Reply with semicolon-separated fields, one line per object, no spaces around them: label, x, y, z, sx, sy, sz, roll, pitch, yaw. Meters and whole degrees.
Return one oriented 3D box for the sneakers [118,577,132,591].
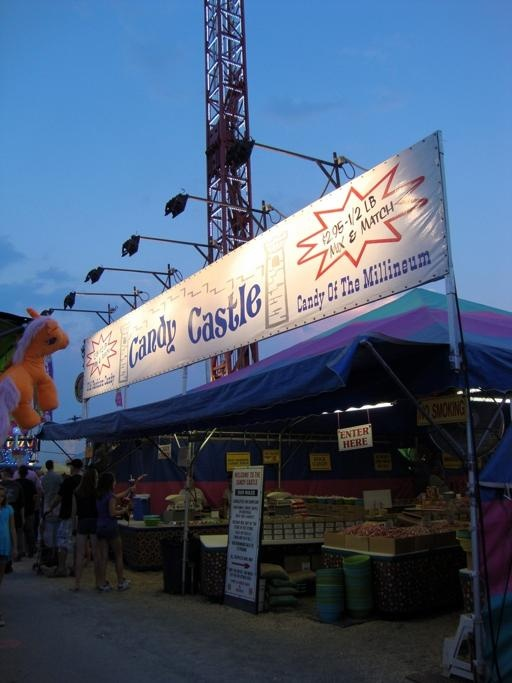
sneakers;-1.700;3.112;7.831;0.081;0.104;0.227;-2;-6;14

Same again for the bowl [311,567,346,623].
bowl;0.725;2.479;5.969;0.272;0.455;0.322;-2;-11;7

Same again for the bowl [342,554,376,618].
bowl;1.011;2.429;5.998;0.291;0.537;0.217;-1;-11;3

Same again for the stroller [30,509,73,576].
stroller;-3.143;3.139;9.540;0.583;0.878;0.548;-8;-21;15

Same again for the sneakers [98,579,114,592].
sneakers;-1.928;3.093;7.743;0.194;0.135;0.208;2;-11;-14

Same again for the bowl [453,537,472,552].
bowl;1.584;1.527;4.618;0.072;0.154;0.208;-2;-11;7
